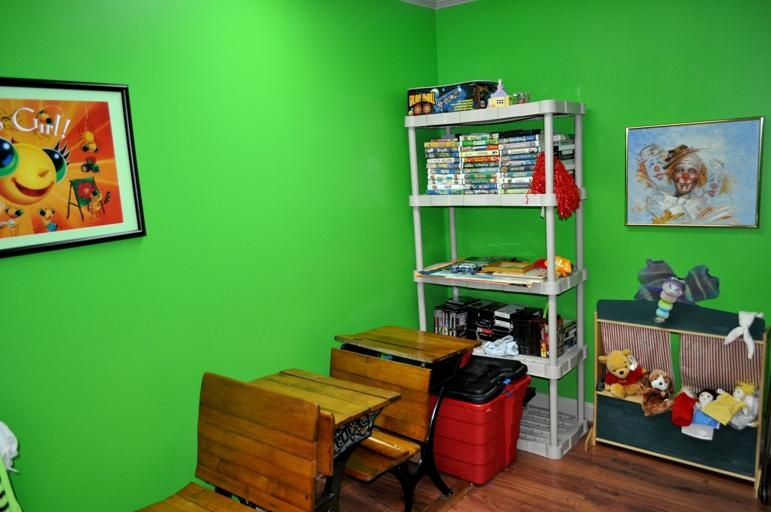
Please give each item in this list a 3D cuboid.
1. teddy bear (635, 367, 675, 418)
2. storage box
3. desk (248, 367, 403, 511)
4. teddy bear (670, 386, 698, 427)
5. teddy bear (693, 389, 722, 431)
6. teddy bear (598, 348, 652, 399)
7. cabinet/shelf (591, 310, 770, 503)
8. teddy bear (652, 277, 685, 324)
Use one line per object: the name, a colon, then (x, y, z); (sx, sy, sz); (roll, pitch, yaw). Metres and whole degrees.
teddy bear: (1.906, 0.940, 4.117); (0.242, 0.300, 0.193); (-5, -3, 9)
storage box: (0.694, 1.119, 4.413); (0.733, 0.739, 0.852); (6, 11, 38)
desk: (-0.316, 0.927, 3.592); (0.814, 0.699, 0.829); (5, 5, 41)
teddy bear: (2.024, 1.014, 3.985); (0.158, 0.250, 0.078); (6, -28, 49)
teddy bear: (2.138, 1.031, 3.922); (0.164, 0.214, 0.071); (11, 5, 36)
teddy bear: (1.704, 0.842, 4.210); (0.413, 0.368, 0.231); (2, 9, 6)
cabinet/shelf: (2.044, 1.027, 3.979); (1.287, 1.186, 0.648); (2, 4, 36)
teddy bear: (1.981, 0.312, 4.100); (0.150, 0.338, 0.141); (23, 22, 29)
